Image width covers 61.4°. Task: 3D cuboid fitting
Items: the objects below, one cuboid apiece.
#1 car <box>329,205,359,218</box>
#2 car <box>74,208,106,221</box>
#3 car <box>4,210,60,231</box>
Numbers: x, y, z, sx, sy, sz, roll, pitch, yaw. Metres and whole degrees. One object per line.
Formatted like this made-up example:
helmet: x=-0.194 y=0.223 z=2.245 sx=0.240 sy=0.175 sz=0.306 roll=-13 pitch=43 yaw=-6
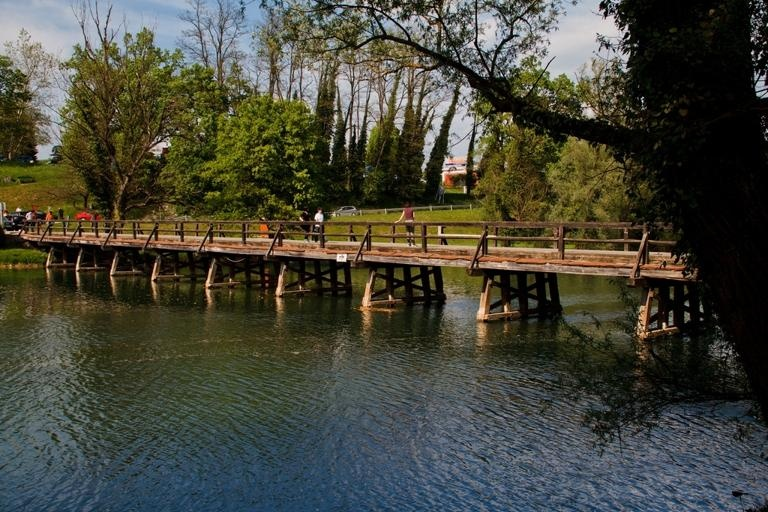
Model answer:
car: x=-4.185 y=-4.908 z=71.689 sx=2.638 sy=0.935 sz=3.439 roll=1 pitch=9 yaw=10
car: x=-25.651 y=-3.689 z=56.855 sx=2.890 sy=1.397 sz=4.490 roll=-1 pitch=-1 yaw=-22
car: x=-28.901 y=-2.894 z=52.971 sx=3.682 sy=1.487 sz=2.317 roll=-4 pitch=6 yaw=-23
